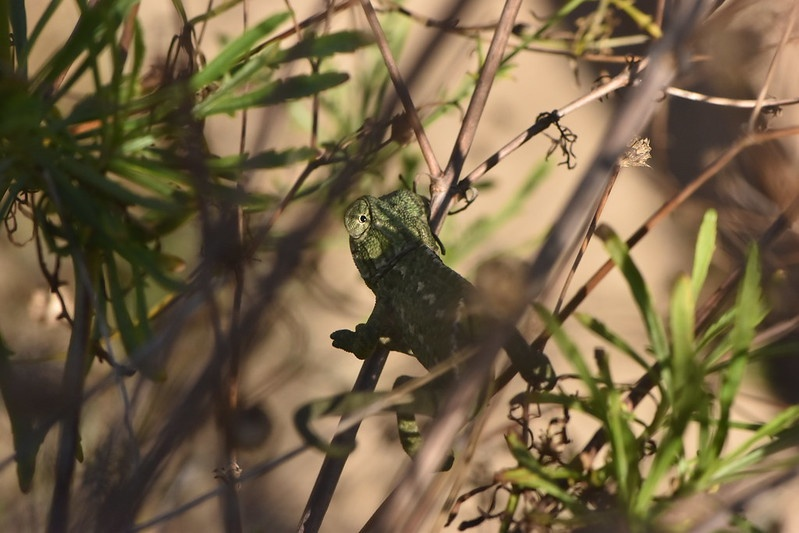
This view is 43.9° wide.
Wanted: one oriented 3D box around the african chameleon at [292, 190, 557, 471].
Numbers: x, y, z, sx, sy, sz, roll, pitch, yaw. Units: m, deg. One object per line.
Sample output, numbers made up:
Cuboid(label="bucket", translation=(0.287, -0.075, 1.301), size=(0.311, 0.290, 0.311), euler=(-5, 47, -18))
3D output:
Cuboid(label="african chameleon", translation=(0.079, 0.105, 2.337), size=(0.465, 0.753, 0.268), euler=(-9, -55, -18))
